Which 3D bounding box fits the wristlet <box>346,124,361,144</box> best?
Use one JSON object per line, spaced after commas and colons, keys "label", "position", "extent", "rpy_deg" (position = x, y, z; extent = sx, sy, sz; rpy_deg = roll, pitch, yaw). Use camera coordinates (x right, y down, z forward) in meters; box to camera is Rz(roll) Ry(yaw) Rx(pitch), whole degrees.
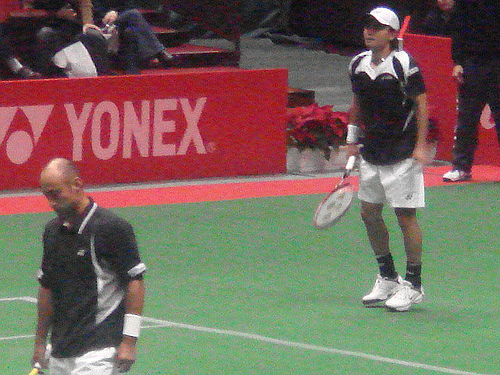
{"label": "wristlet", "position": [1.086, -0.513, 8.535], "extent": [0.146, 0.204, 0.204], "rpy_deg": [-1, 20, 6]}

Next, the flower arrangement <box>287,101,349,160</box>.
{"label": "flower arrangement", "position": [1.154, -0.924, 14.430], "extent": [1.321, 0.590, 0.944], "rpy_deg": [0, 32, -6]}

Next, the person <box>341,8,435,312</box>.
{"label": "person", "position": [1.369, -0.200, 8.242], "extent": [0.801, 2.960, 1.096], "rpy_deg": [-6, 23, -3]}

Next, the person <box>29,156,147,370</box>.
{"label": "person", "position": [-1.170, 0.600, 5.776], "extent": [0.874, 1.519, 0.684], "rpy_deg": [3, 24, 16]}
